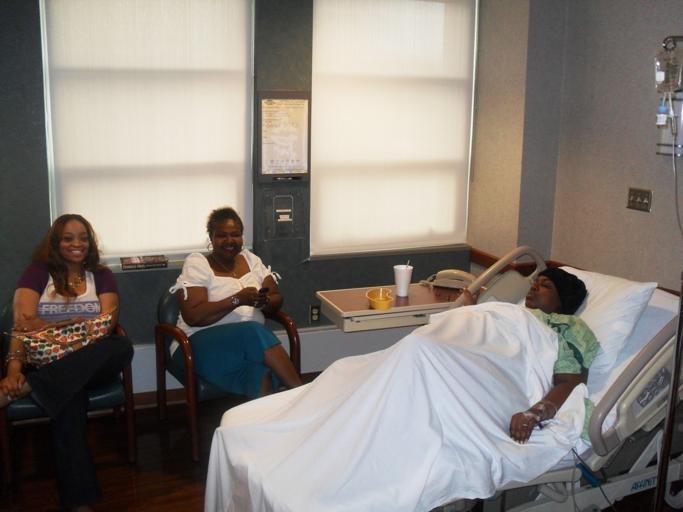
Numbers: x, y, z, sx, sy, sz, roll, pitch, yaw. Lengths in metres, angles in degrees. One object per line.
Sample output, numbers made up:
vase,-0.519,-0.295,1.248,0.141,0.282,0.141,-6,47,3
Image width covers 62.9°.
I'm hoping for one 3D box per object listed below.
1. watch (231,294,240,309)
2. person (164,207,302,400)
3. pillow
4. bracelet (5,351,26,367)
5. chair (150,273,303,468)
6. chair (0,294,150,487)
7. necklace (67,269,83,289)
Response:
watch,-0.639,0.265,3.320,0.057,0.065,0.018,12,-9,-2
person,-0.729,0.279,3.660,0.776,1.350,1.144,-2,5,-37
pillow,1.440,0.354,3.021,0.120,0.509,0.506,30,-7,-31
bracelet,-1.724,0.547,2.955,0.081,0.058,0.083,-11,-17,34
chair,-0.917,0.620,3.610,0.887,1.257,0.939,-3,5,-34
chair,-1.492,0.777,3.487,0.746,1.266,0.995,0,1,-26
necklace,-1.544,0.137,3.234,0.086,0.026,0.098,20,41,-6
